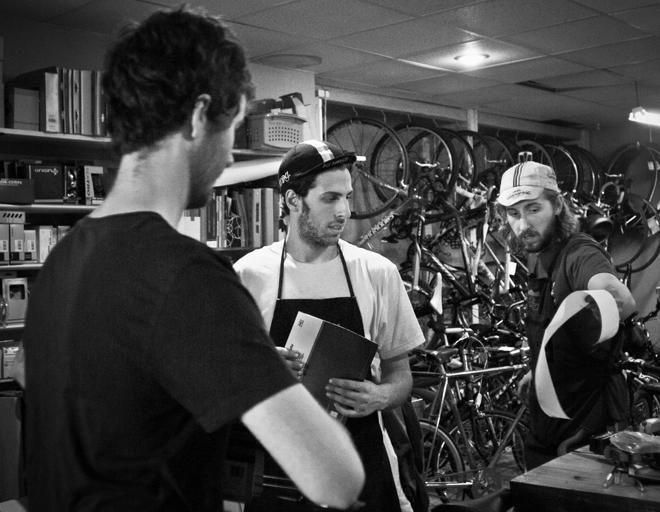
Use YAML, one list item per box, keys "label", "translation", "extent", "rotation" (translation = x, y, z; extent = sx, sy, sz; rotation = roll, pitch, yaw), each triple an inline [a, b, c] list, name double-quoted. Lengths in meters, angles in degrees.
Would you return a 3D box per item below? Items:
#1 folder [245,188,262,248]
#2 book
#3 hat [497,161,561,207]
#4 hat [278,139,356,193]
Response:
- label: "folder"
  translation: [-0.637, -0.304, 5.252]
  extent: [0.130, 0.503, 0.097]
  rotation: [1, -8, -13]
- label: "book"
  translation: [-0.001, 0.284, 1.776]
  extent: [0.272, 0.286, 0.069]
  rotation: [26, 12, -17]
- label: "hat"
  translation: [0.979, -0.357, 3.086]
  extent: [0.193, 0.153, 0.274]
  rotation: [-8, 4, 42]
- label: "hat"
  translation: [-0.048, -0.326, 2.180]
  extent: [0.229, 0.129, 0.172]
  rotation: [-27, 2, 23]
